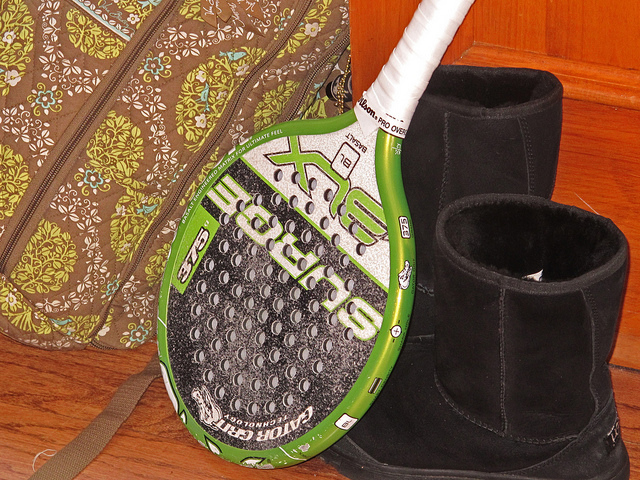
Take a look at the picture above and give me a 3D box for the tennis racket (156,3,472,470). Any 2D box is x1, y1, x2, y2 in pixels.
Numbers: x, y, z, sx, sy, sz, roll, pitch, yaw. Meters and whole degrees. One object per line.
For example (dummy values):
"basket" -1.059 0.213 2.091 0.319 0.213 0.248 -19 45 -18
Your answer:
"tennis racket" -0.040 -0.016 0.937 0.345 0.557 0.290 15 33 6
